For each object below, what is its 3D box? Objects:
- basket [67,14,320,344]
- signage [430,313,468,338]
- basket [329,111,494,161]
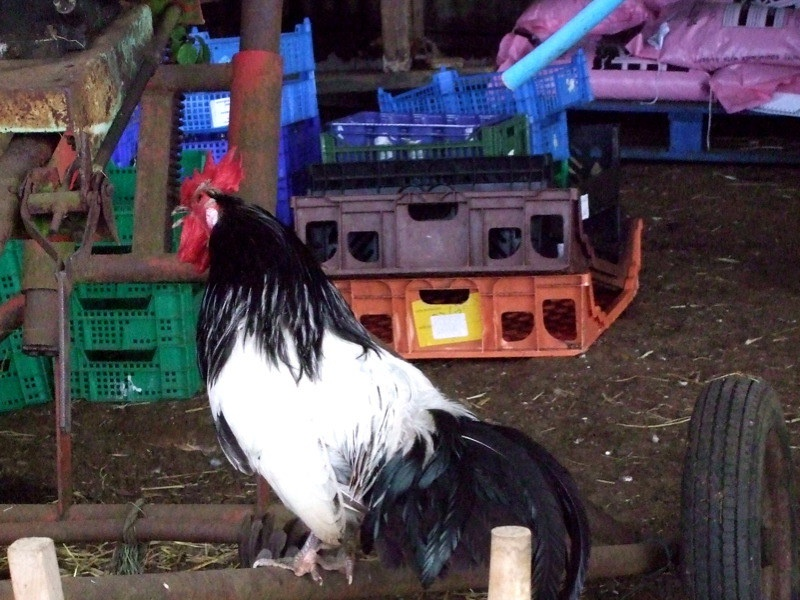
[{"bbox_3d":[-1.024,-0.830,8.730,1.162,0.736,2.118,-1,23,4],"label":"basket"},{"bbox_3d":[0.297,0.150,8.333,0.185,0.143,0.046,-1,6,0],"label":"signage"},{"bbox_3d":[0.039,-1.011,8.614,0.690,0.176,0.469,-4,35,9],"label":"basket"}]
